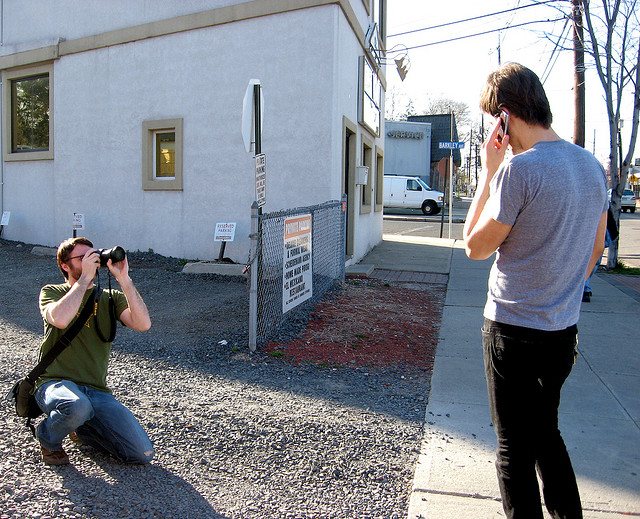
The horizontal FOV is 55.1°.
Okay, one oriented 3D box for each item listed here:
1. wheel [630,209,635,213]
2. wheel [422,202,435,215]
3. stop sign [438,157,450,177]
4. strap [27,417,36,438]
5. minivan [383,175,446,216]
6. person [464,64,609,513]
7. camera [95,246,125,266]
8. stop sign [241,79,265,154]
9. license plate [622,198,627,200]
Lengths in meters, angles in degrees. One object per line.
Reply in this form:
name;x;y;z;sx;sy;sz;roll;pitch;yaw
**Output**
wheel;20.780;-3.231;40.557;0.245;0.298;0.290;1;11;21
wheel;5.536;-2.646;31.161;0.503;0.547;0.203;14;15;17
stop sign;3.612;-2.683;17.844;0.344;0.532;0.627;4;9;12
strap;-1.860;1.072;3.918;0.043;0.101;0.224;-3;11;-27
minivan;4.680;-3.376;31.526;3.534;1.741;2.022;2;8;20
person;1.013;0.157;3.008;0.604;2.179;0.312;5;9;22
camera;-1.377;-0.019;4.000;0.169;0.159;0.178;0;9;-10
stop sign;-0.760;-1.627;6.833;0.214;0.829;0.633;1;9;-7
license plate;20.397;-4.066;40.836;0.264;0.110;0.747;7;11;26
